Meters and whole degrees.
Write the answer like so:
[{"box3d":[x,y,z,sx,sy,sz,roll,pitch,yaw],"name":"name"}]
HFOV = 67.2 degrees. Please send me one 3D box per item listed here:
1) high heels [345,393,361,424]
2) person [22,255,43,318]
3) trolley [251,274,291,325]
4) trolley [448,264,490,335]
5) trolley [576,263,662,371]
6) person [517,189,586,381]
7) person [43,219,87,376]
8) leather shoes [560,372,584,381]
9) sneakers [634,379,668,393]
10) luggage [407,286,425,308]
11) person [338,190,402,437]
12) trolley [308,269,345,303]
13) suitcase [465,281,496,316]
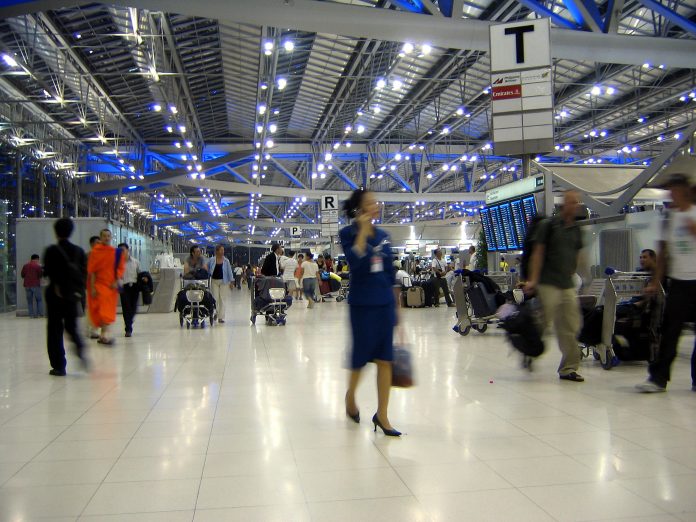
[{"box3d":[0.043,1.281,4.509,0.099,0.126,0.310,0,-43,4],"name":"high heels"},{"box3d":[-9.298,0.736,15.407,0.500,1.881,1.152,-1,1,-30],"name":"person"},{"box3d":[-1.896,0.930,13.031,0.969,1.234,1.451,-5,1,-25],"name":"trolley"},{"box3d":[2.539,0.845,10.342,0.764,1.178,0.803,-8,-17,19],"name":"trolley"},{"box3d":[3.854,0.795,7.200,1.027,1.365,1.621,0,-8,-4],"name":"trolley"},{"box3d":[2.340,0.291,5.881,0.831,2.194,0.454,-1,1,-37],"name":"person"},{"box3d":[-3.603,0.440,6.665,0.480,2.020,0.437,-1,1,-28],"name":"person"},{"box3d":[2.581,1.358,6.091,0.271,0.106,0.101,-9,-10,40],"name":"leather shoes"},{"box3d":[3.070,1.297,5.366,0.333,0.114,0.128,5,18,9],"name":"sneakers"},{"box3d":[2.267,1.247,17.731,0.716,0.862,0.488,-1,-6,-1],"name":"luggage"},{"box3d":[0.182,0.409,4.314,0.519,1.984,0.297,0,1,16],"name":"person"},{"box3d":[-0.948,1.129,22.000,1.574,1.393,1.122,1,-3,1],"name":"trolley"},{"box3d":[2.527,0.736,9.941,0.563,0.672,0.241,-1,1,14],"name":"suitcase"}]
